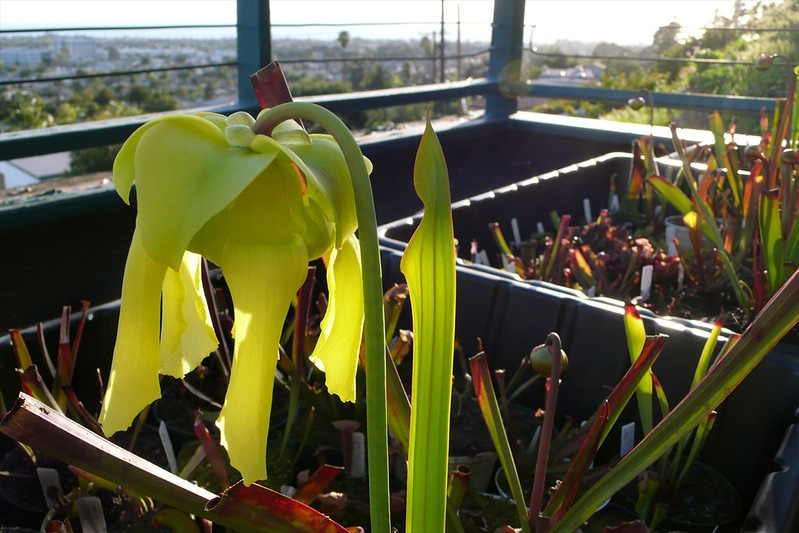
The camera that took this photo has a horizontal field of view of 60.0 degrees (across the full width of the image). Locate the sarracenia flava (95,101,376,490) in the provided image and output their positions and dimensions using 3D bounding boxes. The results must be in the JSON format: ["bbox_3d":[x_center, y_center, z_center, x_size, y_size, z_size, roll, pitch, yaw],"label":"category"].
[{"bbox_3d":[-0.177,0.021,0.761,0.285,0.391,0.161,1,17,2],"label":"sarracenia flava"}]
